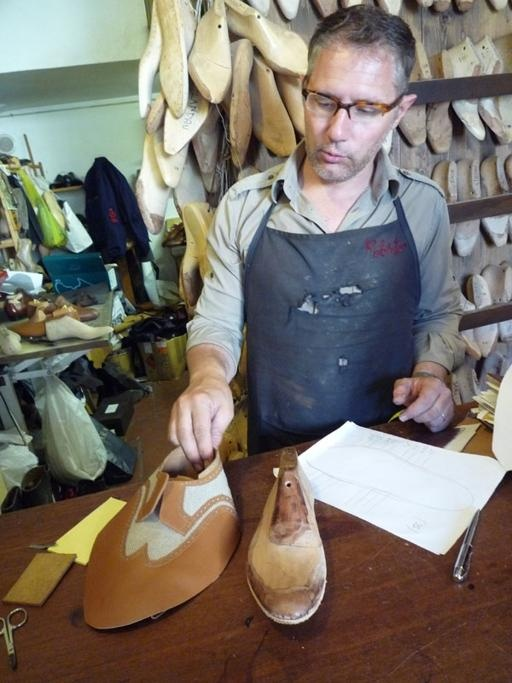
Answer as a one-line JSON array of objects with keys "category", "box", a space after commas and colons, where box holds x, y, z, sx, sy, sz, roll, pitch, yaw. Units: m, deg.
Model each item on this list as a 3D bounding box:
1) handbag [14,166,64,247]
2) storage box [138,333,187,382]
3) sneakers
[{"category": "handbag", "box": [-1.900, -1.178, 4.738, 0.261, 0.749, 0.475, -16, 24, -17]}, {"category": "storage box", "box": [-0.733, 0.145, 4.469, 0.388, 0.392, 0.500, -7, 8, 2]}, {"category": "sneakers", "box": [0.047, 0.267, 0.775, 0.083, 0.090, 0.243, 1, 28, 8]}]
